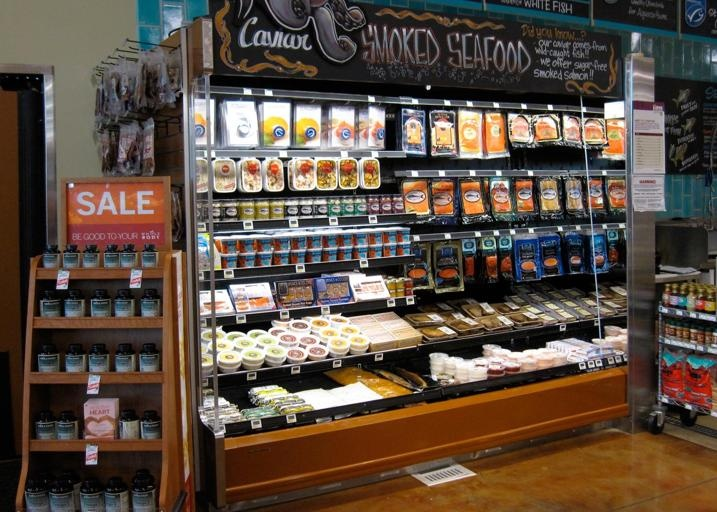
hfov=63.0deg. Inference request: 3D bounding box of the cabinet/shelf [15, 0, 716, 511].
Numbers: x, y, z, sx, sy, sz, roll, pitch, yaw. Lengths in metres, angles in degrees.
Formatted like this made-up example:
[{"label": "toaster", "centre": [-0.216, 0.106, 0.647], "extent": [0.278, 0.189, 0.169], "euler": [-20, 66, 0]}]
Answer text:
[{"label": "cabinet/shelf", "centre": [-0.060, -0.144, 4.418], "extent": [4.655, 3.480, 1.572], "euler": [-5, 10, -25]}]
